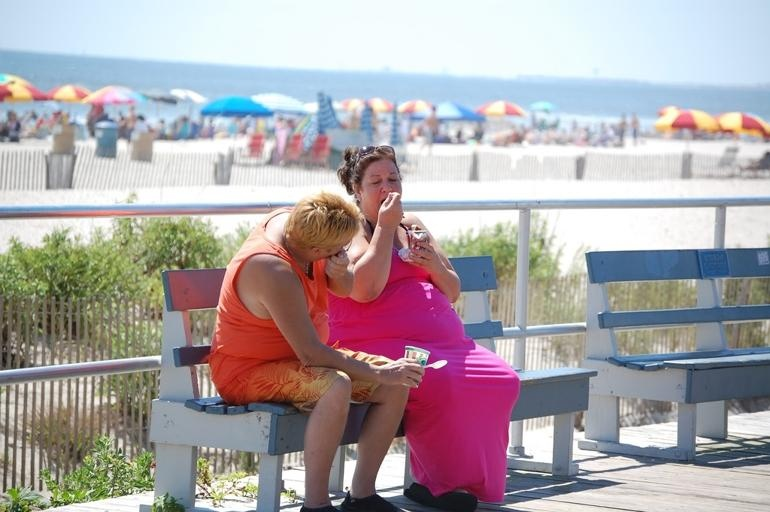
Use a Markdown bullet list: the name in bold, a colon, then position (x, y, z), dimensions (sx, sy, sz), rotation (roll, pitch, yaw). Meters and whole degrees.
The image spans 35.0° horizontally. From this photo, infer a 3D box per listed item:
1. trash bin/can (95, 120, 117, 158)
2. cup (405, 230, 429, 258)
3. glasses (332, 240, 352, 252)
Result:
- **trash bin/can**: position (-9.731, -4.143, 42.675), dimensions (0.738, 1.106, 1.750), rotation (-1, 0, -14)
- **cup**: position (0.412, -0.199, 15.960), dimensions (0.239, 0.353, 0.296), rotation (19, 19, 38)
- **glasses**: position (-0.532, -0.142, 15.558), dimensions (0.131, 0.150, 0.143), rotation (-1, -16, 5)
